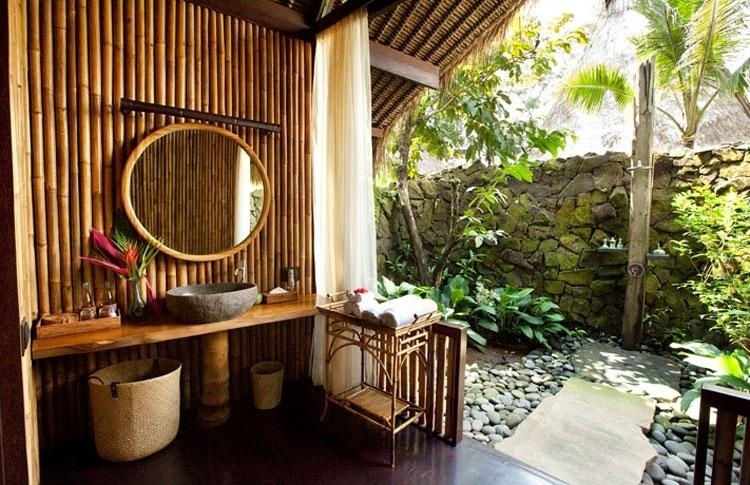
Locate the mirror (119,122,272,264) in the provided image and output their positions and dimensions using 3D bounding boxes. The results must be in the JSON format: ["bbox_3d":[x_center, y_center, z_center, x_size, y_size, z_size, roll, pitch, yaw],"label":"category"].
[{"bbox_3d":[-1.468,-0.375,4.459,1.274,1.235,0.059,4,9,-34],"label":"mirror"}]

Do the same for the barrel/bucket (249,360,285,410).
[{"bbox_3d":[-0.868,1.239,4.532,0.359,0.299,0.329,-1,1,0],"label":"barrel/bucket"}]

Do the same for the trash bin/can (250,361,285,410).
[{"bbox_3d":[-0.932,1.228,4.570,0.367,0.321,0.340,6,0,-9],"label":"trash bin/can"}]

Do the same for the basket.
[{"bbox_3d":[-1.826,1.259,4.183,0.638,0.734,0.758,0,0,32],"label":"basket"}]

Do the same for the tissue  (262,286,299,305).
[{"bbox_3d":[-0.825,0.476,4.549,0.207,0.074,0.147,-1,5,-42],"label":"tissue "}]

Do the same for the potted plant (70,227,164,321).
[{"bbox_3d":[-1.992,0.242,4.188,0.479,0.640,0.547,-2,5,21],"label":"potted plant"}]

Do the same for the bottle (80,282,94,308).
[{"bbox_3d":[-2.226,0.399,4.031,0.086,0.185,0.156,0,4,-29],"label":"bottle"}]

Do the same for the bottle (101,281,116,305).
[{"bbox_3d":[-2.097,0.392,4.105,0.094,0.171,0.121,0,4,-27],"label":"bottle"}]

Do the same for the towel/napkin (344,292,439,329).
[{"bbox_3d":[0.171,0.517,4.064,0.388,0.119,0.386,0,6,-40],"label":"towel/napkin"}]

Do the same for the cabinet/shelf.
[{"bbox_3d":[0.025,1.060,4.293,0.936,0.994,0.634,5,6,44],"label":"cabinet/shelf"}]
